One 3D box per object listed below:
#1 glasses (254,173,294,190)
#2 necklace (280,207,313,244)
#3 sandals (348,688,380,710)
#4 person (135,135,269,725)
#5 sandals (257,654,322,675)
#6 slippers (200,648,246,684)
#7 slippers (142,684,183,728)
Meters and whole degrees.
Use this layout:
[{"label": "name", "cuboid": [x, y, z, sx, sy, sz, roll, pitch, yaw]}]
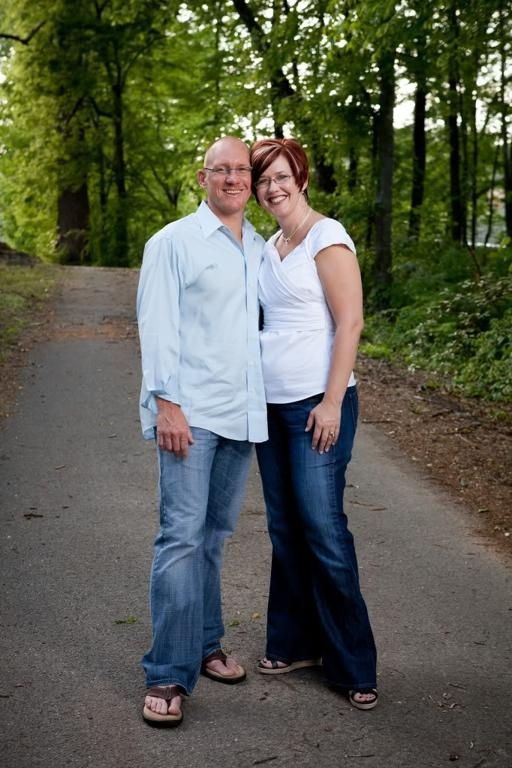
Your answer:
[{"label": "glasses", "cuboid": [0.068, -0.818, 3.036, 0.085, 0.024, 0.080, -7, -3, 8]}, {"label": "necklace", "cuboid": [0.174, -0.642, 3.087, 0.036, 0.153, 0.115, 44, 3, 4]}, {"label": "sandals", "cuboid": [0.408, 1.214, 2.896, 0.113, 0.059, 0.077, 4, 7, 8]}, {"label": "person", "cuboid": [-0.242, 0.114, 2.929, 0.468, 2.207, 0.682, 6, 7, 24]}, {"label": "sandals", "cuboid": [0.146, 1.168, 3.163, 0.246, 0.067, 0.082, 3, -1, -22]}, {"label": "slippers", "cuboid": [-0.139, 1.152, 3.069, 0.180, 0.070, 0.089, 1, 6, 45]}, {"label": "slippers", "cuboid": [-0.349, 1.183, 2.776, 0.143, 0.121, 0.135, 2, 7, -8]}]
